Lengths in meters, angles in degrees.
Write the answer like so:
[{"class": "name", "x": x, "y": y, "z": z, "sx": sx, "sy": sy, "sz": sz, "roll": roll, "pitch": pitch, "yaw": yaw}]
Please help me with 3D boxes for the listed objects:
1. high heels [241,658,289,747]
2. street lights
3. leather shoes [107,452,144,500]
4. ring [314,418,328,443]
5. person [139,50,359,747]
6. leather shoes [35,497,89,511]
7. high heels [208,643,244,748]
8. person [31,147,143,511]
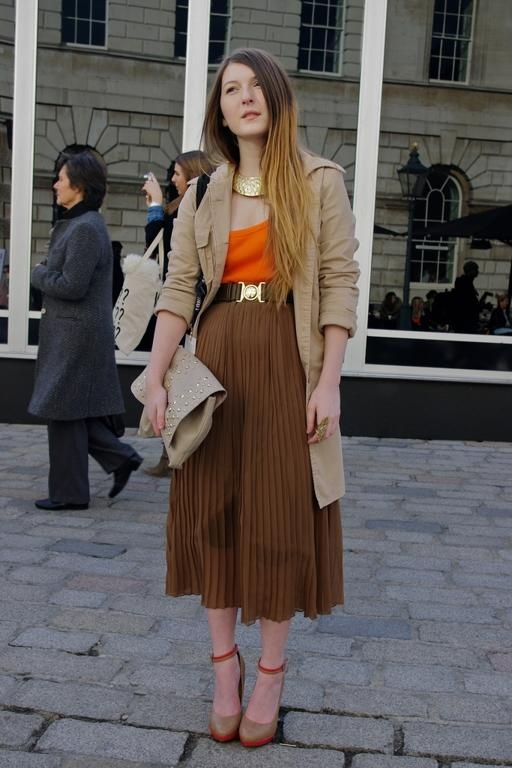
[{"class": "high heels", "x": 0.020, "y": 0.782, "z": 1.892, "sx": 0.072, "sy": 0.236, "sz": 0.044, "roll": 8, "pitch": -11, "yaw": -1}, {"class": "street lights", "x": 1.437, "y": -1.374, "z": 6.951, "sx": 0.270, "sy": 1.709, "sz": 0.117, "roll": 0, "pitch": 5, "yaw": -22}, {"class": "leather shoes", "x": -0.781, "y": 0.551, "z": 4.447, "sx": 0.087, "sy": 0.275, "sz": 0.119, "roll": 37, "pitch": 13, "yaw": -8}, {"class": "ring", "x": 0.156, "y": 0.111, "z": 1.799, "sx": 0.028, "sy": 0.065, "sz": 0.057, "roll": 3, "pitch": 5, "yaw": 4}, {"class": "person", "x": -0.020, "y": 0.032, "z": 1.881, "sx": 0.522, "sy": 1.716, "sz": 0.260, "roll": 3, "pitch": 5, "yaw": 5}, {"class": "leather shoes", "x": -1.075, "y": 0.675, "z": 4.164, "sx": 0.280, "sy": 0.106, "sz": 0.099, "roll": 8, "pitch": -4, "yaw": -12}, {"class": "high heels", "x": -0.062, "y": 0.800, "z": 1.912, "sx": 0.073, "sy": 0.218, "sz": 0.087, "roll": 2, "pitch": -35, "yaw": 4}, {"class": "person", "x": -0.973, "y": -0.302, "z": 4.136, "sx": 0.355, "sy": 1.989, "sz": 0.600, "roll": 7, "pitch": 7, "yaw": 44}]
